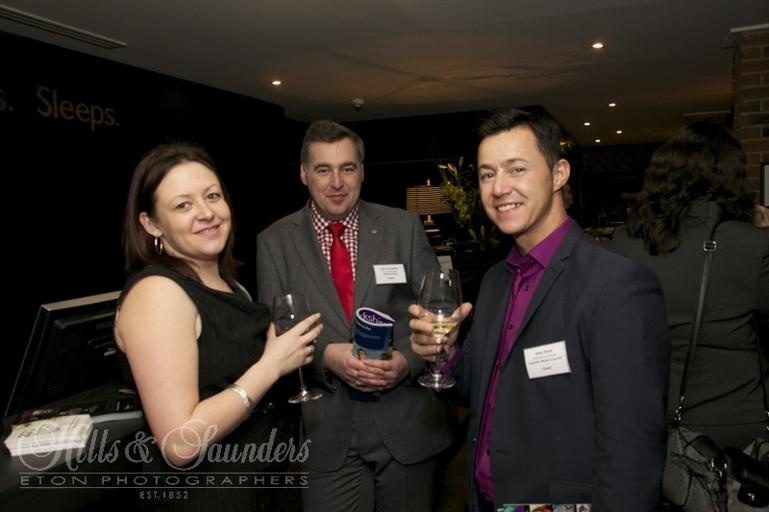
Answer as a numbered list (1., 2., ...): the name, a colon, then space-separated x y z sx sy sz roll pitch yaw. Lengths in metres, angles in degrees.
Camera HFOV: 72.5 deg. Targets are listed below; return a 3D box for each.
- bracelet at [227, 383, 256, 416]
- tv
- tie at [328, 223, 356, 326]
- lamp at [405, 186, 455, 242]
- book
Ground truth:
1. bracelet: -0.594 0.595 2.214 0.115 0.103 0.115 -37 -8 -20
2. tv: -1.554 0.482 2.544 0.504 0.529 0.206 -7 9 -27
3. tie: -0.239 0.114 3.002 0.105 0.606 0.102 -3 -24 -6
4. lamp: 0.858 -0.786 10.301 0.873 1.064 0.634 -1 12 1
5. book: -0.059 0.375 2.556 0.195 0.262 0.142 -3 8 -4
